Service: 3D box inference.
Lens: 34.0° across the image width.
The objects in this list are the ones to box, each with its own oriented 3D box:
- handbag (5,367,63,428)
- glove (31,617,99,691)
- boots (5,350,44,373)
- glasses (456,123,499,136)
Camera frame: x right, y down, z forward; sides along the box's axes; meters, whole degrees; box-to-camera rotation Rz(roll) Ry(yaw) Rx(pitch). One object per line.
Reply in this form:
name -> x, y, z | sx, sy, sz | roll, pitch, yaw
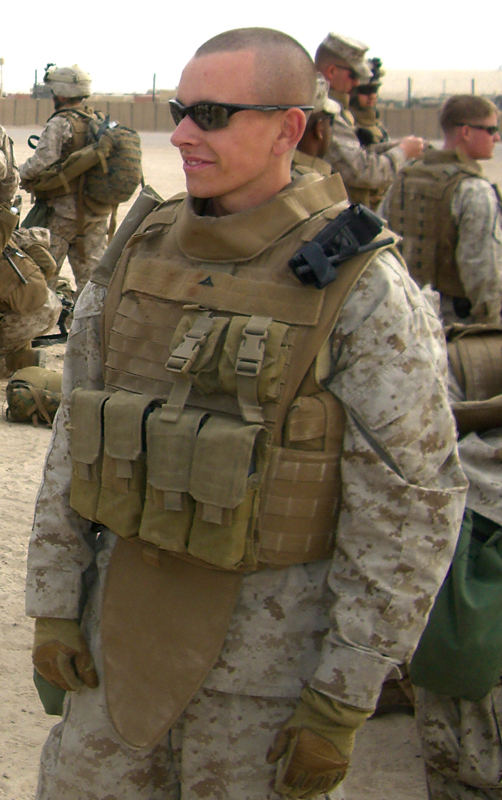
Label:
handbag -> -1.360, -0.003, 5.136 | 0.274, 0.341, 0.356 | 7, -8, 13
glove -> -0.350, 0.468, 1.522 | 0.117, 0.136, 0.059 | -12, -21, -10
boots -> -1.691, -0.252, 6.161 | 0.228, 0.199, 0.221 | -2, -3, 24
glasses -> 1.364, -1.594, 4.852 | 0.132, 0.036, 0.093 | 10, 18, -14
